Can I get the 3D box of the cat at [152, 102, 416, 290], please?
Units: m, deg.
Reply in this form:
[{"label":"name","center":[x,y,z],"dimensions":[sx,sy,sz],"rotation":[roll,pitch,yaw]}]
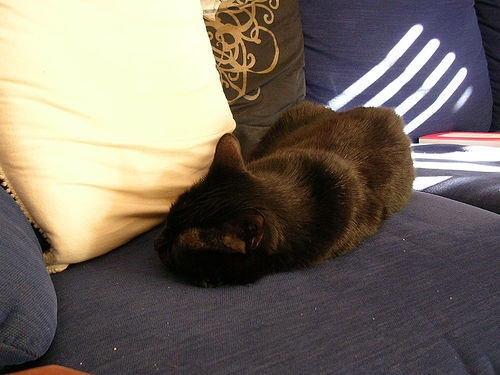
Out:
[{"label":"cat","center":[0.112,0.007,1.117],"dimensions":[0.613,0.232,0.449],"rotation":[-19,34,-25]}]
